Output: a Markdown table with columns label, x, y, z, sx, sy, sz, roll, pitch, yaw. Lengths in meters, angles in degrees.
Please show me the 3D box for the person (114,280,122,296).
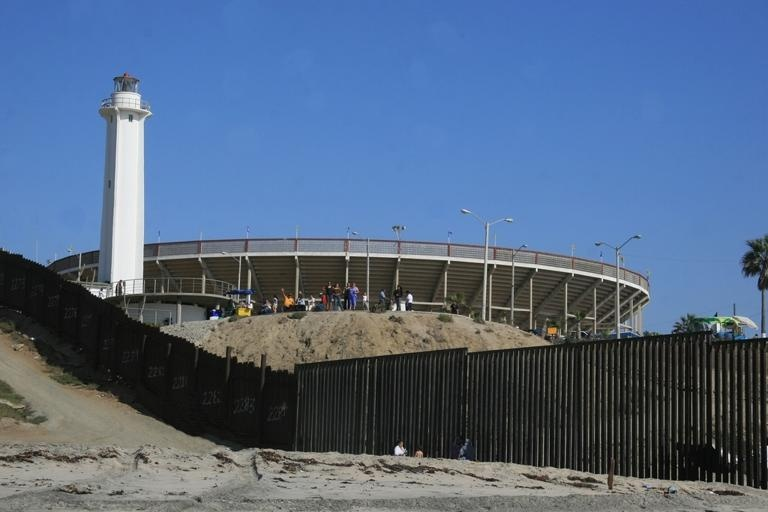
| label | x | y | z | sx | sy | sz | roll | pitch | yaw |
| --- | --- | --- | --- | --- | --- | --- | --- | --- | --- |
| person | -15.345 | 1.806 | 68.519 | 0.494 | 0.745 | 1.996 | -2 | 6 | -13 |
